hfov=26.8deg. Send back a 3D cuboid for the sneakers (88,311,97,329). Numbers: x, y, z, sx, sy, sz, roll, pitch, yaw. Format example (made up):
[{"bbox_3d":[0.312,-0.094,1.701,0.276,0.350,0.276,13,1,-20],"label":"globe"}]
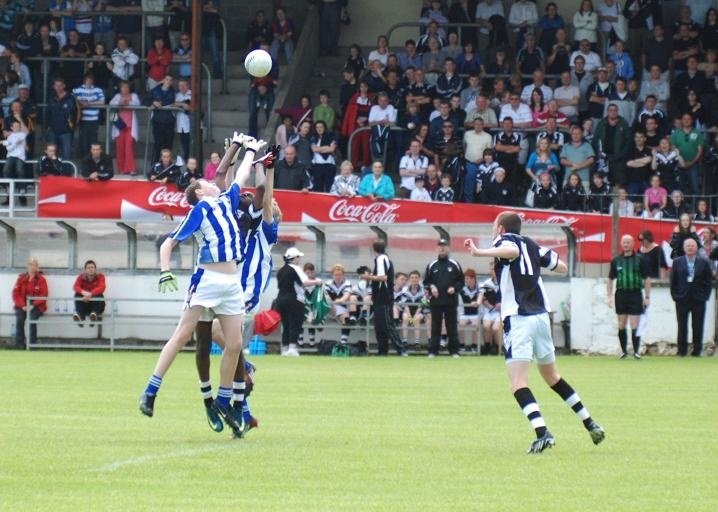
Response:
[{"bbox_3d":[-6.174,1.446,35.178,0.138,0.431,0.161,1,-2,-5],"label":"sneakers"}]

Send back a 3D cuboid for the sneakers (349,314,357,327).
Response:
[{"bbox_3d":[-0.139,1.442,34.492,0.208,0.196,0.167,1,-3,-1],"label":"sneakers"}]

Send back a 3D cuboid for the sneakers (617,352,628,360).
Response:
[{"bbox_3d":[5.752,2.179,33.133,0.130,0.155,0.360,-1,-6,20],"label":"sneakers"}]

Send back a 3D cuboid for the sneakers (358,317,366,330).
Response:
[{"bbox_3d":[0.082,1.488,34.372,0.177,0.340,0.186,0,-2,-6],"label":"sneakers"}]

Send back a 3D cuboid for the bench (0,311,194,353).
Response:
[{"bbox_3d":[-6.246,1.746,35.183,4.048,0.856,1.269,1,-3,-6],"label":"bench"}]

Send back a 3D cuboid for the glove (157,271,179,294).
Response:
[{"bbox_3d":[-3.132,0.383,24.832,0.257,0.330,0.884,1,-3,-6],"label":"glove"}]

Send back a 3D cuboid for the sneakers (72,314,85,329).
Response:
[{"bbox_3d":[-6.490,1.439,34.984,0.162,0.464,0.173,-21,1,-5],"label":"sneakers"}]

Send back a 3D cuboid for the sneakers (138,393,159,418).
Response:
[{"bbox_3d":[-3.432,2.394,24.515,0.165,0.220,0.470,11,6,-5],"label":"sneakers"}]

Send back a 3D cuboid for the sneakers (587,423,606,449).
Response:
[{"bbox_3d":[3.805,2.873,24.431,0.333,0.259,0.305,30,35,-14],"label":"sneakers"}]

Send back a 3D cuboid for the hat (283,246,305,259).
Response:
[{"bbox_3d":[-1.403,-0.101,33.359,0.255,0.208,0.369,13,19,43],"label":"hat"}]

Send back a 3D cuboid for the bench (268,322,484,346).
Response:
[{"bbox_3d":[0.718,1.749,34.541,4.116,0.589,1.290,1,-3,-3],"label":"bench"}]

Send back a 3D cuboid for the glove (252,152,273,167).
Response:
[{"bbox_3d":[-1.594,-1.689,25.506,0.156,0.205,0.467,17,1,-33],"label":"glove"}]

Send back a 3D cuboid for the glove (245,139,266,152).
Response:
[{"bbox_3d":[-1.758,-1.881,25.372,0.244,0.065,0.254,8,35,-12],"label":"glove"}]

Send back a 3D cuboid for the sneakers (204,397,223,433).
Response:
[{"bbox_3d":[-2.389,2.600,24.686,0.224,0.635,0.245,-21,20,-20],"label":"sneakers"}]

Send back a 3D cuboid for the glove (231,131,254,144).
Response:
[{"bbox_3d":[-1.948,-2.044,25.440,0.357,0.223,0.280,1,-3,-7],"label":"glove"}]
